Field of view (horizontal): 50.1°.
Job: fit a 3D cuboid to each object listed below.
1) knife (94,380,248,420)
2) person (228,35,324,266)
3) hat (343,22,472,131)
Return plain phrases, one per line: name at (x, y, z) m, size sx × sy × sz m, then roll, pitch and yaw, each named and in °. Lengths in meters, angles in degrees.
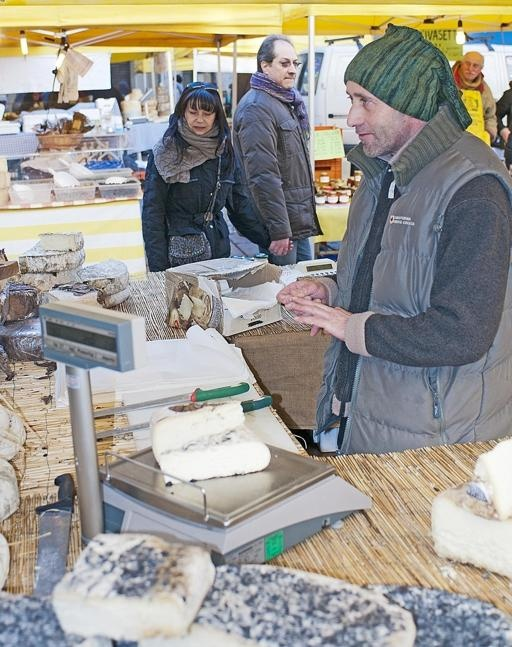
knife at (-0.193, 0.172, 1.235) m, size 0.380 × 0.035 × 0.048 m, roll -10°, pitch 1°, yaw 3°
person at (0.176, -1.143, 3.805) m, size 0.587 × 1.646 × 0.533 m, roll -6°, pitch 25°, yaw -25°
hat at (0.393, -0.638, 1.419) m, size 0.303 × 0.268 × 0.125 m, roll -1°, pitch 16°, yaw 2°
